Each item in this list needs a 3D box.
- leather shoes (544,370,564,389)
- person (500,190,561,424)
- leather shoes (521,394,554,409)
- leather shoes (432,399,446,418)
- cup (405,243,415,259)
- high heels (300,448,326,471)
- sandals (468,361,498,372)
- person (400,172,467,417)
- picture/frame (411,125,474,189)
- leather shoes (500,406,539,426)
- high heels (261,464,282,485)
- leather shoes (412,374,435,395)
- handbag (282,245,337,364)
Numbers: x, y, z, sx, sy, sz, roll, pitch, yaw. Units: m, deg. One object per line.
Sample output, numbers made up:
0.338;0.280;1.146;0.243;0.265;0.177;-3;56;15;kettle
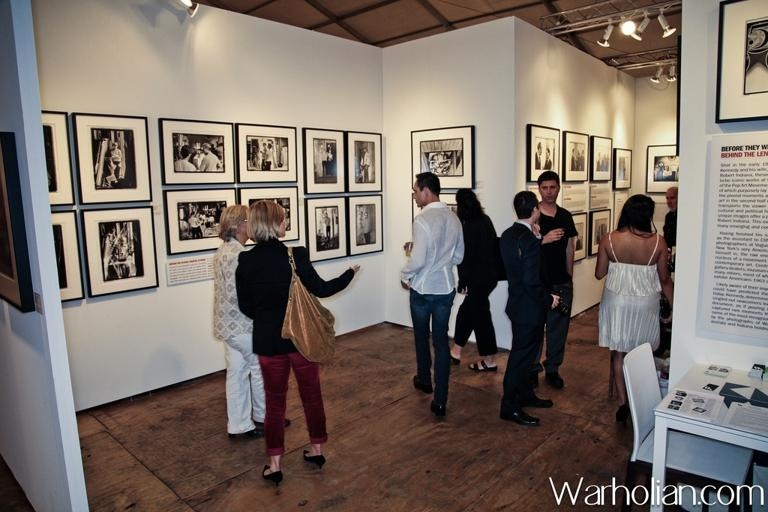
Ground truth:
1.931;1.403;5.696;0.096;0.109;0.270;-3;-4;-6;leather shoes
1.366;0.509;4.828;0.526;2.218;0.433;2;14;13;person
1.576;1.516;5.268;0.408;0.180;0.131;-3;2;7;leather shoes
0.549;1.547;5.084;0.080;0.102;0.225;0;12;-12;leather shoes
0.253;-0.070;5.198;0.112;0.121;0.116;-7;-1;0;cup
-0.626;1.778;4.417;0.235;0.105;0.086;16;12;43;high heels
1.207;1.298;6.037;0.321;0.095;0.132;3;9;10;sandals
0.471;0.382;5.107;0.592;2.374;0.636;2;14;12;person
0.828;-1.354;6.740;0.994;0.919;0.102;6;11;38;picture/frame
1.320;1.549;4.967;0.390;0.169;0.149;-2;2;29;leather shoes
-0.942;1.866;4.240;0.084;0.094;0.210;-2;12;-41;high heels
0.433;1.420;5.528;0.107;0.126;0.285;-3;13;-23;leather shoes
-0.618;0.414;4.032;0.420;0.969;0.301;-4;14;-12;handbag
